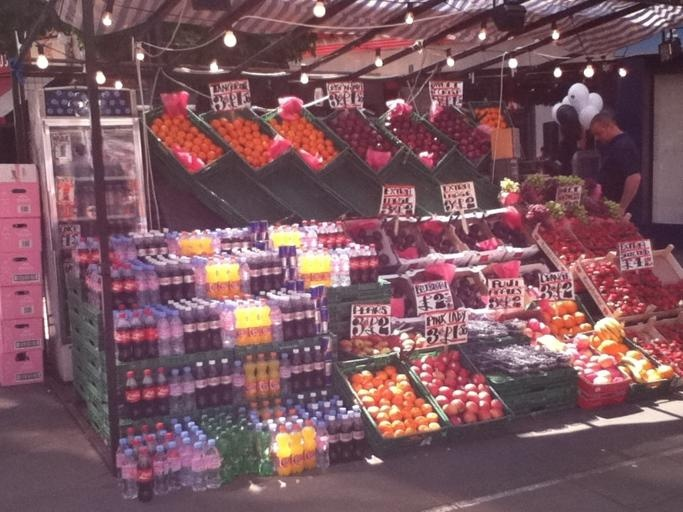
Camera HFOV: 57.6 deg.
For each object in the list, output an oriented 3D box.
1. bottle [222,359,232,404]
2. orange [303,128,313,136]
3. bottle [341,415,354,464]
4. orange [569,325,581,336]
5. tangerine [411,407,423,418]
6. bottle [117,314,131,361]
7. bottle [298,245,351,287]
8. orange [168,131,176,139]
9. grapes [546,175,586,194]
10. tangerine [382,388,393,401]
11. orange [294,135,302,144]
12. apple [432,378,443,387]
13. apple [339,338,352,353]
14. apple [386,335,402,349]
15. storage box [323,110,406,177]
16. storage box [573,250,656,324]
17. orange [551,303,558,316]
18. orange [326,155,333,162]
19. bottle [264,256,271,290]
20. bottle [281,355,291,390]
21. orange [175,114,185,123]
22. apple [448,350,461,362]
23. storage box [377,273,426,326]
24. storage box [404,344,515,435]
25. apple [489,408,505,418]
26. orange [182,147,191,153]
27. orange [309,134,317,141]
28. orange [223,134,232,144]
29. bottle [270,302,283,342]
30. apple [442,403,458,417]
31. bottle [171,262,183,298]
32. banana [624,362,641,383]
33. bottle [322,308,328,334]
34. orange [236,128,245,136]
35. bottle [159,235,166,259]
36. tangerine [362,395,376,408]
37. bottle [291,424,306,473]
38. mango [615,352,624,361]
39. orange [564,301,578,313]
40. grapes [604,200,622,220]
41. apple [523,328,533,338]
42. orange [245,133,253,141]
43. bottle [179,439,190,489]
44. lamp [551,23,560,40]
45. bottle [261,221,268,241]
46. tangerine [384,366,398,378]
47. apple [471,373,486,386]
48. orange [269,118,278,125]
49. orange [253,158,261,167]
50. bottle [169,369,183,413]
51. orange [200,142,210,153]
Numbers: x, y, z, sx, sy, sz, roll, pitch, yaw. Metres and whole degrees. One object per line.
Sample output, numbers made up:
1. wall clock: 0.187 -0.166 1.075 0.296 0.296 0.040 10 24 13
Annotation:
1. bottle: -1.003 1.086 5.467 0.085 0.373 0.080 -1 12 0
2. orange: -0.464 -1.732 8.743 0.080 0.084 0.102 -20 37 18
3. bottle: 0.049 1.564 5.408 0.116 0.404 0.090 -2 12 -6
4. orange: 2.707 0.849 7.170 0.086 0.110 0.091 1 0 0
5. tangerine: 0.694 1.414 5.729 0.079 0.087 0.082 7 19 21
6. bottle: -1.866 0.679 5.321 0.123 0.390 0.169 -6 13 -22
7. bottle: -0.172 0.112 6.427 0.552 0.374 0.307 -3 13 -7
8. orange: -2.195 -1.573 8.101 0.080 0.087 0.086 16 37 25
9. grapes: 3.103 -0.995 8.572 0.528 0.182 0.177 -3 13 -6
10. tangerine: 0.444 1.289 5.818 0.080 0.104 0.087 0 -8 34
11. orange: -0.605 -1.616 8.646 0.073 0.108 0.130 7 15 34
12. apple: 0.936 1.217 6.041 0.082 0.069 0.065 8 5 -12
13. apple: 0.048 0.899 6.330 0.109 0.118 0.110 5 3 11
14. apple: 0.556 0.896 6.584 0.193 0.085 0.229 -1 14 2
15. storage box: 0.313 -1.751 9.042 0.761 1.154 0.383 -28 -18 -40
16. storage box: 3.216 0.385 7.406 0.563 0.273 0.867 -13 56 -13
17. orange: 2.502 0.612 7.268 0.084 0.126 0.116 -1 13 -1
18. orange: -0.144 -1.350 8.635 0.084 0.088 0.087 -26 -1 5
19. bottle: -0.705 0.160 5.967 0.111 0.301 0.057 -11 15 -40
20. bottle: -0.498 1.038 5.630 0.108 0.359 0.071 -6 13 -22
21. orange: -2.147 -1.823 8.292 0.097 0.101 0.095 16 28 -31
22. apple: 1.171 1.018 6.386 0.098 0.130 0.103 0 2 -2
23. storage box: 0.706 0.466 7.132 0.412 0.600 0.580 -4 9 -17
24. storage box: 1.111 1.249 6.057 0.553 0.259 0.753 -6 32 -17
25. apple: 1.468 1.459 5.825 0.097 0.082 0.078 8 -3 9
26. orange: -2.003 -1.377 8.053 0.110 0.082 0.098 -5 13 -16
27. orange: -0.397 -1.667 8.726 0.078 0.102 0.083 -1 9 5
28. orange: -1.526 -1.573 8.345 0.116 0.117 0.123 -1 32 -9
29. bottle: -0.584 0.598 5.668 0.099 0.337 0.082 -3 12 -8
30. apple: 1.015 1.411 5.783 0.099 0.130 0.104 -6 3 -2
31. bottle: -1.512 0.227 5.750 0.099 0.319 0.108 -1 12 0
32. banana: 3.058 1.220 6.512 0.069 0.062 0.196 -28 16 4
33. bottle: -0.152 0.598 5.924 0.056 0.234 0.133 1 12 10
34. orange: -1.362 -1.684 8.437 0.111 0.064 0.119 2 38 -19
35. bottle: -1.773 -0.114 6.208 0.070 0.171 0.183 -3 13 -9
36. tangerine: 0.261 1.322 5.729 0.090 0.100 0.091 -4 0 -7
37. bottle: -0.370 1.610 5.257 0.113 0.385 0.127 -3 12 -9
38. mango: 3.064 1.090 6.824 0.081 0.107 0.086 -1 2 0
39. orange: 2.702 0.585 7.317 0.143 0.183 0.150 -2 3 0
40. grapes: 3.772 -0.648 8.579 0.279 0.239 0.186 0 12 5
41. apple: 2.082 0.847 6.894 0.095 0.056 0.100 16 24 -18
42. orange: -1.248 -1.619 8.450 0.081 0.042 0.083 16 -9 42
43. bottle: -1.262 1.680 5.054 0.110 0.358 0.065 -3 12 -10
44. lamp: 3.292 -3.447 9.526 0.083 0.287 0.523 2 14 15
45. bottle: -0.802 -0.273 6.523 0.059 0.181 0.091 -1 12 1
46. tangerine: 0.492 1.132 6.135 0.098 0.128 0.103 -8 -26 -4
47. apple: 1.357 1.203 6.135 0.096 0.124 0.098 -12 4 -23
48. orange: -0.941 -1.893 8.754 0.099 0.130 0.105 8 14 19
49. orange: -1.112 -1.245 8.276 0.077 0.102 0.082 0 8 6
50. bottle: -1.414 1.152 5.358 0.086 0.370 0.151 5 13 26
51. orange: -1.789 -1.423 8.132 0.078 0.079 0.078 -15 25 -27
